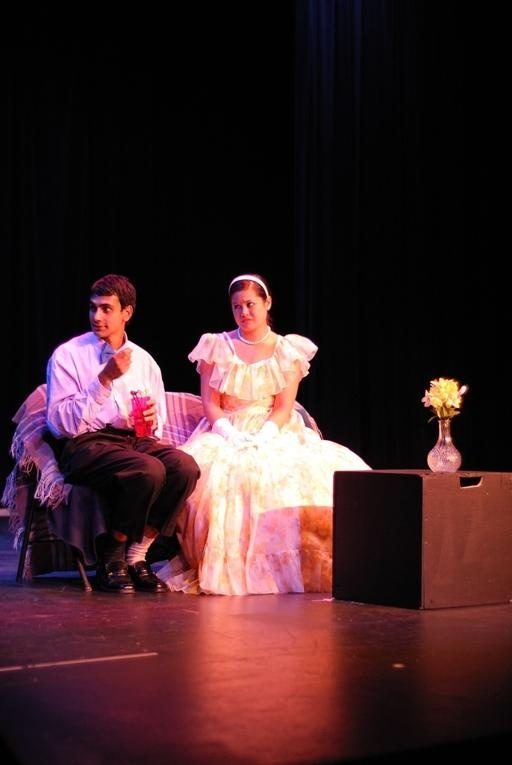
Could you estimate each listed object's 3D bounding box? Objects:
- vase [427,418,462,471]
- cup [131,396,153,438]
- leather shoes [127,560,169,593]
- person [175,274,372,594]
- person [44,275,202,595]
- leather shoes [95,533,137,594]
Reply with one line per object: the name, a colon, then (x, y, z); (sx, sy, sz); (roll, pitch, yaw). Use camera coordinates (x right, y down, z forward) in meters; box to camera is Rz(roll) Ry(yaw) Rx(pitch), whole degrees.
vase: (0.644, 0.221, 2.329); (0.100, 0.196, 0.101); (15, -18, -43)
cup: (-0.420, 0.113, 2.482); (0.070, 0.138, 0.193); (2, 0, -9)
leather shoes: (-0.393, 0.693, 2.437); (0.064, 0.085, 0.177); (3, -2, -36)
person: (0.026, 0.302, 3.031); (0.907, 1.709, 1.022); (1, -12, -6)
person: (-0.511, 0.156, 2.560); (0.522, 1.031, 0.500); (2, 0, -25)
leather shoes: (-0.504, 0.643, 2.410); (0.132, 0.181, 0.218); (2, 0, -14)
